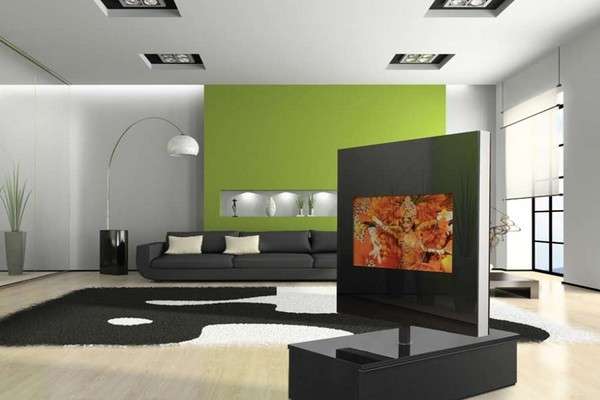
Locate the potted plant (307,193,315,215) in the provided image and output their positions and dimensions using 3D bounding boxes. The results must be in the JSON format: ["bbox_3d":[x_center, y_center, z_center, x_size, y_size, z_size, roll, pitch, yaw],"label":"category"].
[{"bbox_3d":[0.213,0.087,8.420,0.106,0.412,0.242,0,3,3],"label":"potted plant"}]

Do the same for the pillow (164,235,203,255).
[{"bbox_3d":[-2.048,0.791,7.364,0.503,0.329,0.134,2,-6,3],"label":"pillow"}]

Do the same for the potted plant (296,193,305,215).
[{"bbox_3d":[0.009,0.089,8.402,0.151,0.416,0.209,0,3,-3],"label":"potted plant"}]

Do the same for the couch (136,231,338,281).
[{"bbox_3d":[-0.982,0.992,7.448,3.255,0.822,0.843,0,3,-1],"label":"couch"}]
